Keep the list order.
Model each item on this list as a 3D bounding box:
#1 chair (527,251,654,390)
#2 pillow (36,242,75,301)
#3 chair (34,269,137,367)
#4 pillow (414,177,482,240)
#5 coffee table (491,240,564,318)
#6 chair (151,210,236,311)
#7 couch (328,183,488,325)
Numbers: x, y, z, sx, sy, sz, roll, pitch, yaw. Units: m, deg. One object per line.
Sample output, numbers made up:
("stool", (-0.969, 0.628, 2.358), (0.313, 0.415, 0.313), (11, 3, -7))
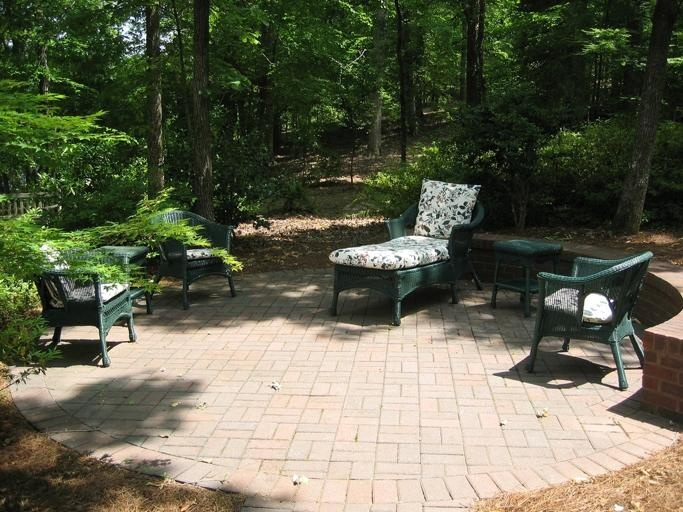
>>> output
("chair", (2.289, 0.464, 4.978), (1.069, 0.839, 0.987), (-1, 9, 23))
("pillow", (-2.228, 0.112, 4.278), (0.175, 0.460, 0.473), (-16, 5, -21))
("chair", (-2.588, 0.492, 5.493), (1.034, 0.699, 0.870), (0, -2, -23))
("pillow", (1.370, -0.627, 7.341), (1.020, 0.747, 0.312), (20, 6, 42))
("coffee table", (2.109, 0.244, 6.806), (0.892, 0.821, 0.827), (4, 5, 31))
("chair", (-2.036, -0.053, 7.191), (1.450, 0.960, 1.172), (4, 19, -7))
("couch", (0.896, -0.186, 6.936), (1.887, 1.083, 1.188), (-22, 27, -38))
